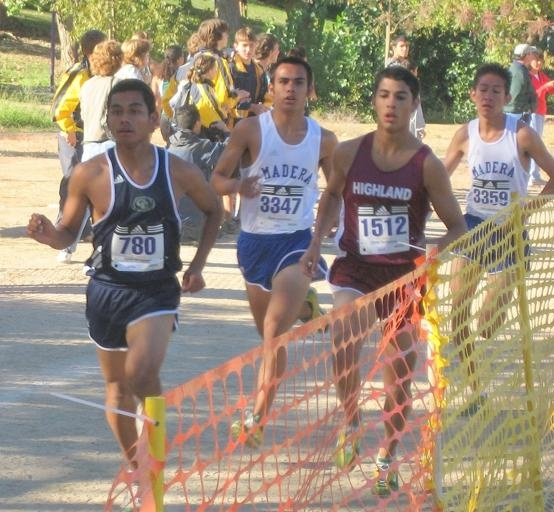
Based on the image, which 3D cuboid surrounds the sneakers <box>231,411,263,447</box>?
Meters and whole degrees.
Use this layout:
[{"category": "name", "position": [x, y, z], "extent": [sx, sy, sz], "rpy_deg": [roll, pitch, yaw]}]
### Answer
[{"category": "sneakers", "position": [-0.142, 0.804, 4.837], "extent": [0.094, 0.153, 0.237], "rpy_deg": [-6, 1, 18]}]

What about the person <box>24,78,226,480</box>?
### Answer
[{"category": "person", "position": [-0.709, -0.052, 4.703], "extent": [0.660, 1.519, 0.875], "rpy_deg": [4, 11, 16]}]

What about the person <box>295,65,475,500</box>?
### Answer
[{"category": "person", "position": [0.530, 0.117, 5.082], "extent": [0.683, 2.115, 0.888], "rpy_deg": [0, 6, -38]}]

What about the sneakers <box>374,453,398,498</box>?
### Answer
[{"category": "sneakers", "position": [0.506, 1.043, 4.697], "extent": [0.105, 0.173, 0.168], "rpy_deg": [2, -8, 6]}]
